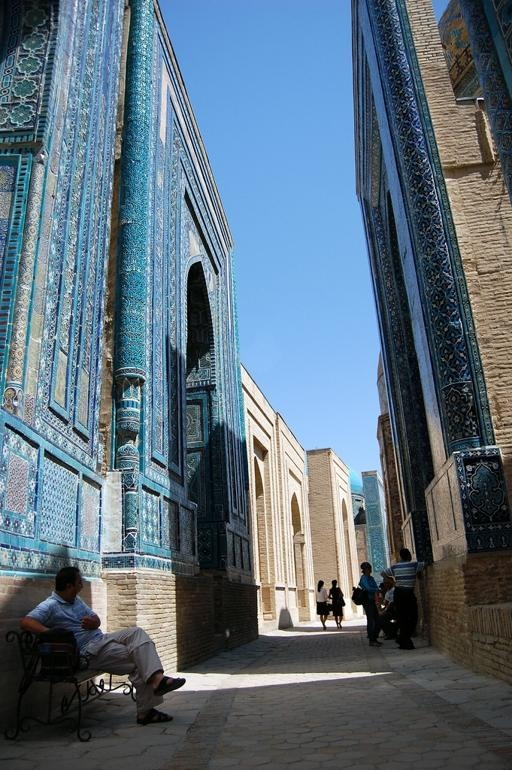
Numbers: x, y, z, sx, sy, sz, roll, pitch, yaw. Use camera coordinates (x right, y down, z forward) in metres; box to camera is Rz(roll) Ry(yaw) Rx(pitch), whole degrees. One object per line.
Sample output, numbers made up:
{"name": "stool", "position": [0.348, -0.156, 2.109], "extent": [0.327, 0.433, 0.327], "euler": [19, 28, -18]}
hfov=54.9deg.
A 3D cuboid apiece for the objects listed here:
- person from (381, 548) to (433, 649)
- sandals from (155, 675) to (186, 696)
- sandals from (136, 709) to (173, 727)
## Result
{"name": "person", "position": [1.745, 2.491, 5.797], "extent": [0.425, 1.033, 0.336], "euler": [-1, -16, 6]}
{"name": "sandals", "position": [-0.411, 1.386, 2.264], "extent": [0.078, 0.093, 0.195], "euler": [13, -28, -42]}
{"name": "sandals", "position": [-0.481, 1.570, 2.332], "extent": [0.163, 0.080, 0.126], "euler": [-1, -21, -14]}
